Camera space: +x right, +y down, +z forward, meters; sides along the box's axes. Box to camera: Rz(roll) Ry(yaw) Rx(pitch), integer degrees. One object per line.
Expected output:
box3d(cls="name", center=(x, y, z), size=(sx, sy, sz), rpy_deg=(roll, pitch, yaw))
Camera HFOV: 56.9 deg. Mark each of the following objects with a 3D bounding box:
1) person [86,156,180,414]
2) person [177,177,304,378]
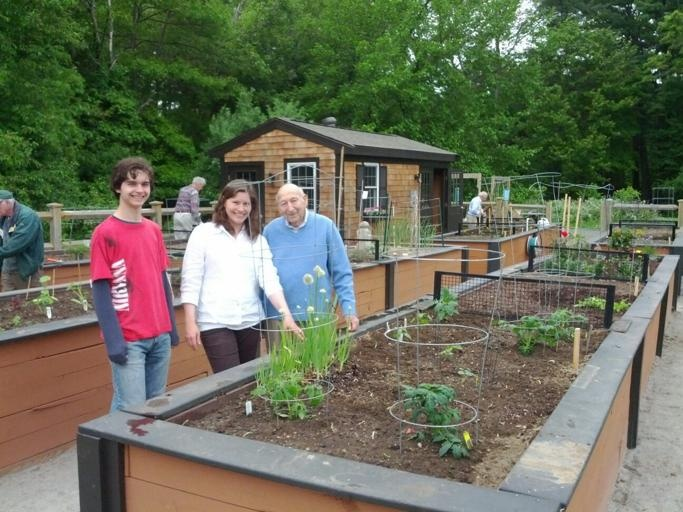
box3d(cls="person", center=(-1.391, 0.179, 4.282), size=(0.254, 1.674, 0.595), rpy_deg=(3, 8, 32))
box3d(cls="person", center=(-0.797, 0.147, 4.602), size=(0.727, 1.390, 0.320), rpy_deg=(-4, 7, -16))
